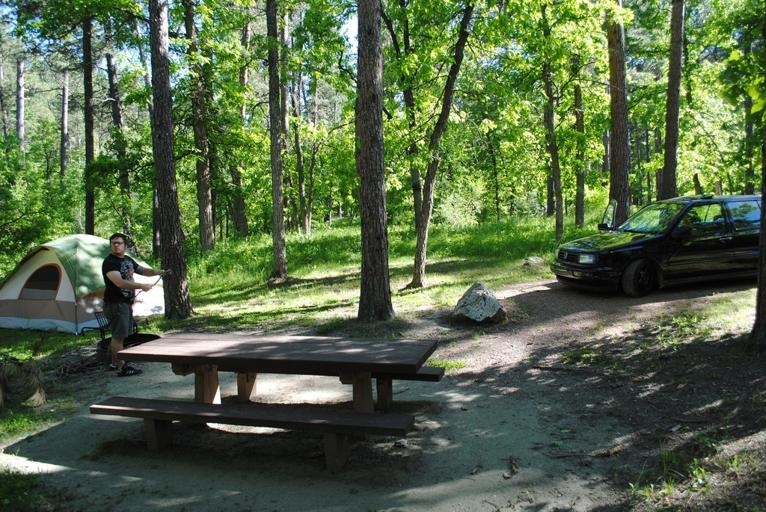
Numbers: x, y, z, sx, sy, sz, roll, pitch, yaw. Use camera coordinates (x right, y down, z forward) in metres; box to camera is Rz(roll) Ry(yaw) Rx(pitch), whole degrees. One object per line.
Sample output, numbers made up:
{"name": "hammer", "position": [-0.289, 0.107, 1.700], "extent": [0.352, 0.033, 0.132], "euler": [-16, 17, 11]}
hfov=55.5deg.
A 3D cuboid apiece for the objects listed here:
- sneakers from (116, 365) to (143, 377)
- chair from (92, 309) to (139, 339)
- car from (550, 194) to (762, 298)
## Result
{"name": "sneakers", "position": [-5.908, 2.638, 16.900], "extent": [0.615, 0.271, 0.236], "euler": [0, 6, -11]}
{"name": "chair", "position": [-6.346, 1.612, 17.182], "extent": [0.694, 0.903, 0.937], "euler": [-2, -2, 21]}
{"name": "car", "position": [7.209, -0.312, 19.312], "extent": [5.176, 1.758, 2.440], "euler": [-1, 2, -10]}
